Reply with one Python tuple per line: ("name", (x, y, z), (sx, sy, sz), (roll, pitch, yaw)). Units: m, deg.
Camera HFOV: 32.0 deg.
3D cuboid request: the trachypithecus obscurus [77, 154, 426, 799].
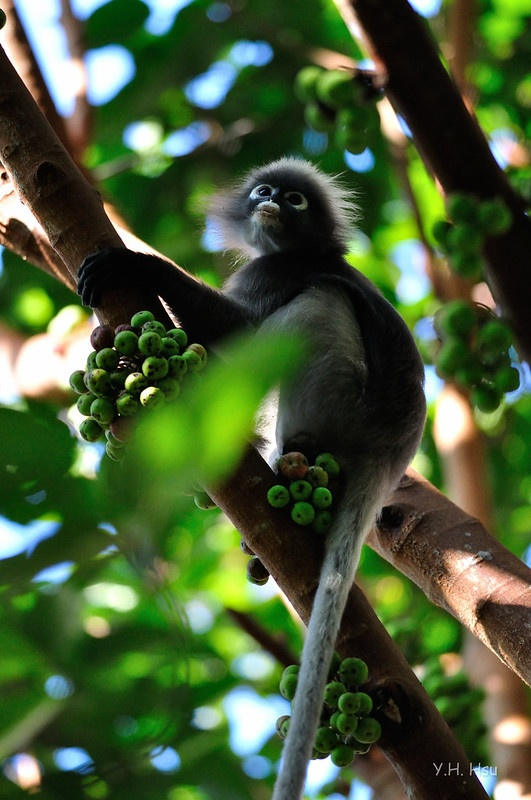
("trachypithecus obscurus", (-0.009, -0.052, 2.737), (0.883, 1.093, 1.475), (-14, -93, 33))
